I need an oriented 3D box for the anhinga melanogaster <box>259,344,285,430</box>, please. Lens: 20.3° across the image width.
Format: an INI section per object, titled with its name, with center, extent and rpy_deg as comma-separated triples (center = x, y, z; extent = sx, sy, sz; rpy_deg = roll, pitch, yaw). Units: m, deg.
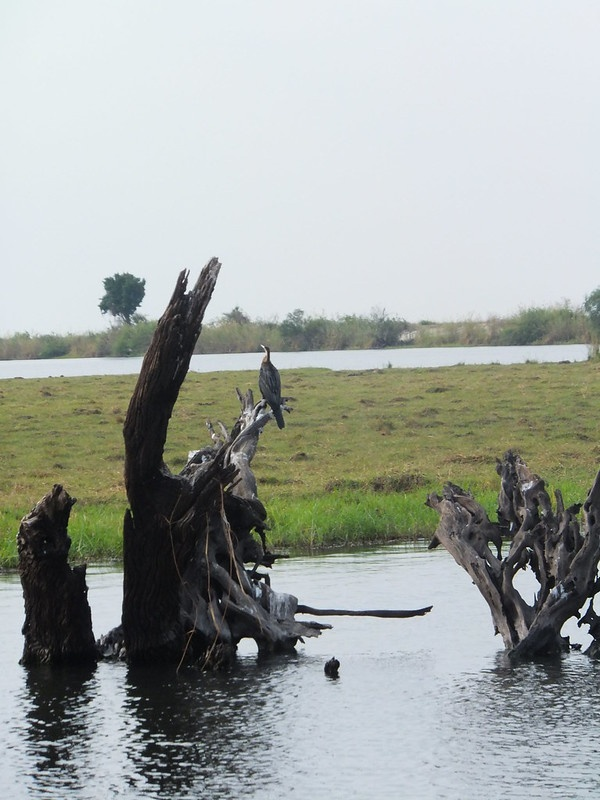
[anhinga melanogaster]
center = -0.543, -0.398, 29.791
extent = 0.321, 1.255, 1.641
rpy_deg = -7, 6, -1
